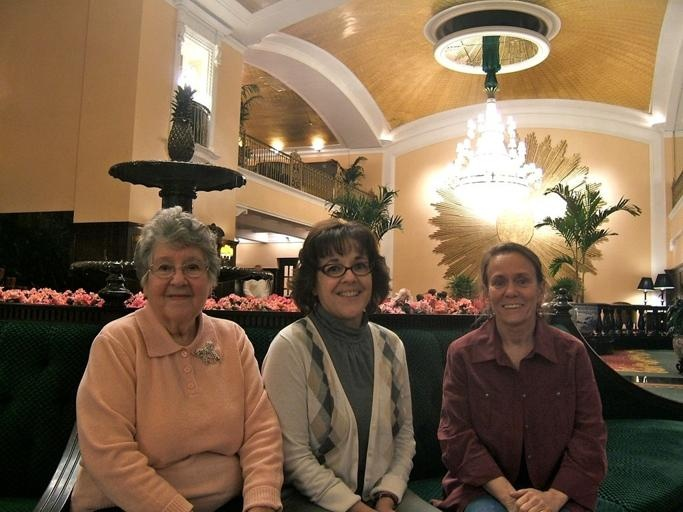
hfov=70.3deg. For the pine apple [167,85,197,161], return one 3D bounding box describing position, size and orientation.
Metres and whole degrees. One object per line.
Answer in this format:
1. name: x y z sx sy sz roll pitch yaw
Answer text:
1. pine apple: -1.302 -1.075 3.964 0.190 0.538 0.189 -2 12 -38
